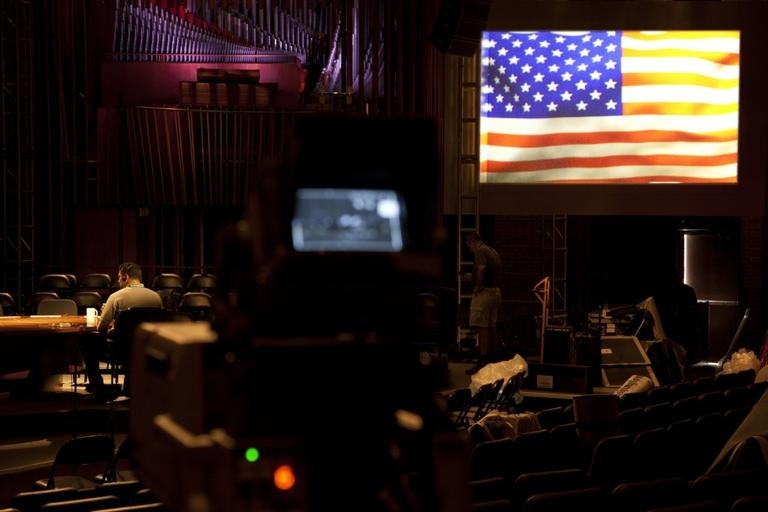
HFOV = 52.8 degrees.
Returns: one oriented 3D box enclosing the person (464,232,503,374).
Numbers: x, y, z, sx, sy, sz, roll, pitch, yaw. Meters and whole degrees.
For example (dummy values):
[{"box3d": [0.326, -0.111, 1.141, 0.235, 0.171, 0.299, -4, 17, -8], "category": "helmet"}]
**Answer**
[{"box3d": [1.323, 0.504, 10.312, 0.429, 1.632, 1.039, -2, 5, 6], "category": "person"}]
